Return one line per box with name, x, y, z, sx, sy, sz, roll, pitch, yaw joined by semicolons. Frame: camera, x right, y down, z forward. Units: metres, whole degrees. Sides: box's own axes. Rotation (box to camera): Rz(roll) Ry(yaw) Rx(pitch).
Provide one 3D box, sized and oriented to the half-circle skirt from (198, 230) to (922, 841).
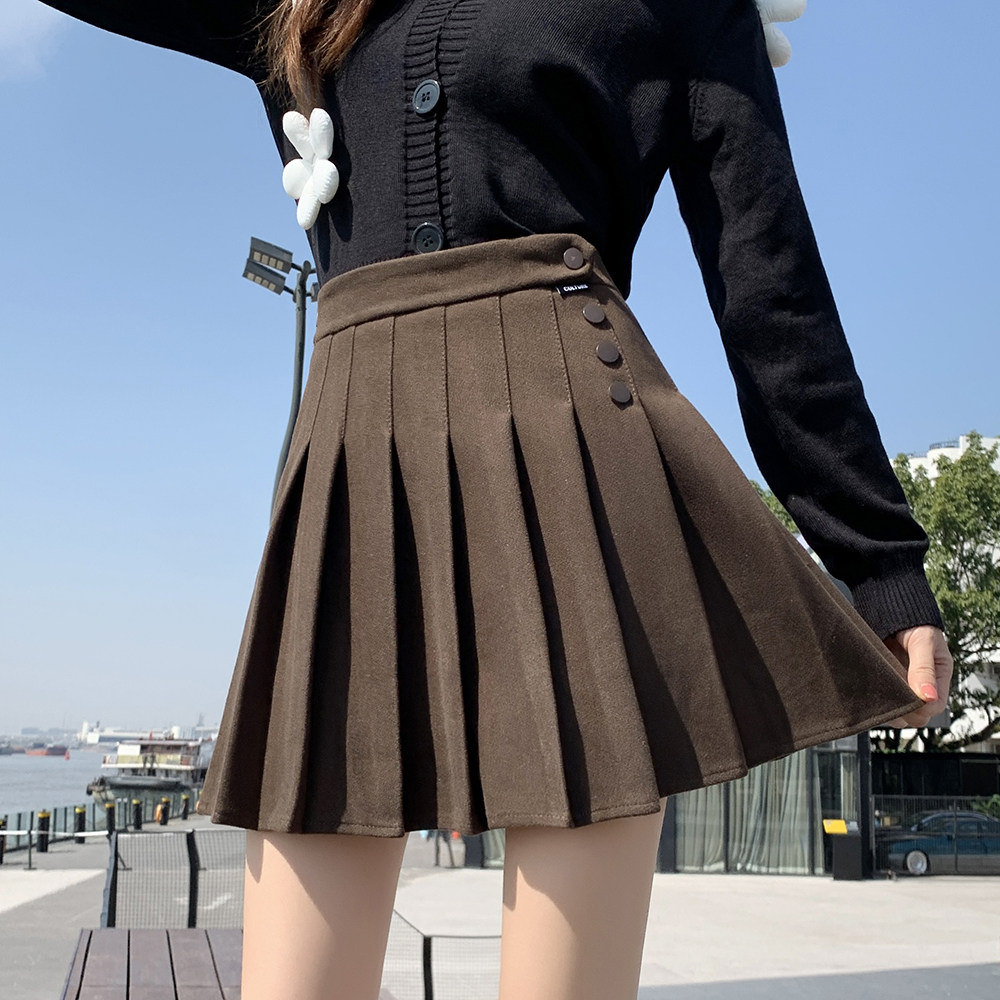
half-circle skirt;0.037;-0.110;1.236;0.919;0.765;0.544;-9;-26;-9
